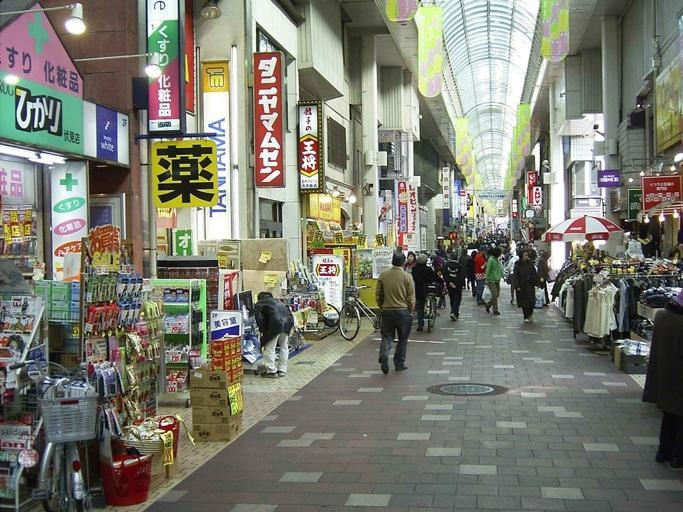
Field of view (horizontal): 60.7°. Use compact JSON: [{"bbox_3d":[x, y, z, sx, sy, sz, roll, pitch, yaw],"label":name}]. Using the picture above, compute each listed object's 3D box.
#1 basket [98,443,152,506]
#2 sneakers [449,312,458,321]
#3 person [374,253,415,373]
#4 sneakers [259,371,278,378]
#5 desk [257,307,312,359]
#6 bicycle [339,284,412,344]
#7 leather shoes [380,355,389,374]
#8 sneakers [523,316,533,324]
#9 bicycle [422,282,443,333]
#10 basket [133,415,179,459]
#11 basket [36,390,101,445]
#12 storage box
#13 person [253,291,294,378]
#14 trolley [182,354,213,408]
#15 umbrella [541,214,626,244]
[{"bbox_3d":[-1.878,1.894,5.109,0.410,0.431,0.368,0,-1,13],"label":"basket"},{"bbox_3d":[3.202,1.716,16.691,0.120,0.147,0.316,1,3,23],"label":"sneakers"},{"bbox_3d":[0.906,0.932,9.856,0.635,2.045,0.826,-2,0,2],"label":"person"},{"bbox_3d":[-1.209,1.920,9.615,0.266,0.121,0.102,4,8,7],"label":"sneakers"},{"bbox_3d":[-1.055,1.381,10.458,1.098,0.783,1.134,-1,-3,2],"label":"desk"},{"bbox_3d":[0.647,1.377,14.218,1.861,1.238,0.918,0,4,37],"label":"bicycle"},{"bbox_3d":[0.688,1.754,9.528,0.114,0.333,0.139,-8,-6,2],"label":"leather shoes"},{"bbox_3d":[5.015,1.703,15.708,0.241,0.250,0.150,3,-2,1],"label":"sneakers"},{"bbox_3d":[2.368,1.113,15.194,0.646,0.832,1.393,1,10,11],"label":"bicycle"},{"bbox_3d":[-1.777,1.679,5.496,0.342,0.371,0.431,-7,-15,34],"label":"basket"},{"bbox_3d":[-2.117,1.248,4.546,0.397,0.293,0.319,0,-3,-14],"label":"basket"},{"bbox_3d":[-1.411,1.650,6.484,0.411,0.775,0.788,1,0,6],"label":"storage box"},{"bbox_3d":[-1.126,1.244,9.554,0.781,1.397,0.810,-4,-9,4],"label":"person"},{"bbox_3d":[-1.949,1.686,8.108,0.312,0.378,0.548,5,4,-14],"label":"trolley"},{"bbox_3d":[7.979,-0.926,19.045,1.568,0.555,1.542,4,-10,-36],"label":"umbrella"}]
